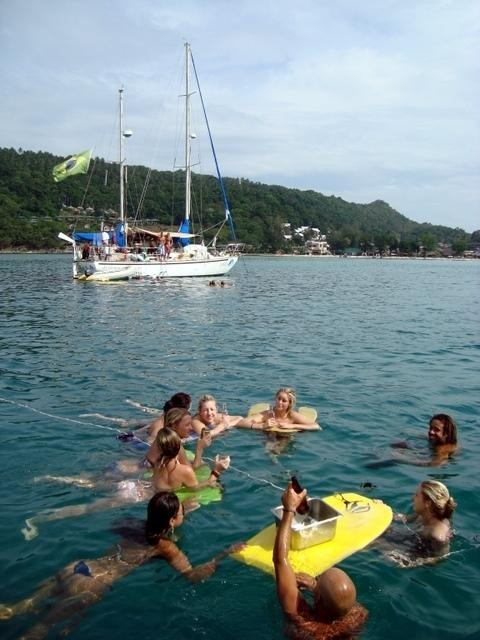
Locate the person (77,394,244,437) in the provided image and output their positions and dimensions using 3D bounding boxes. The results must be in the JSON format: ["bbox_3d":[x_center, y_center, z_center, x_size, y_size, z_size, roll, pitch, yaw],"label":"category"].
[{"bbox_3d":[-1.156,1.785,8.505,2.155,0.757,0.850,-14,-10,26],"label":"person"}]

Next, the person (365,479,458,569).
[{"bbox_3d":[1.650,1.841,5.248,0.773,1.026,0.666,10,16,11],"label":"person"}]

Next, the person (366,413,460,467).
[{"bbox_3d":[2.410,1.726,7.430,1.329,0.708,0.788,-3,7,-19],"label":"person"}]

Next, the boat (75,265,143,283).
[{"bbox_3d":[-9.405,-3.078,37.896,4.152,1.004,1.847,1,6,0],"label":"boat"}]
